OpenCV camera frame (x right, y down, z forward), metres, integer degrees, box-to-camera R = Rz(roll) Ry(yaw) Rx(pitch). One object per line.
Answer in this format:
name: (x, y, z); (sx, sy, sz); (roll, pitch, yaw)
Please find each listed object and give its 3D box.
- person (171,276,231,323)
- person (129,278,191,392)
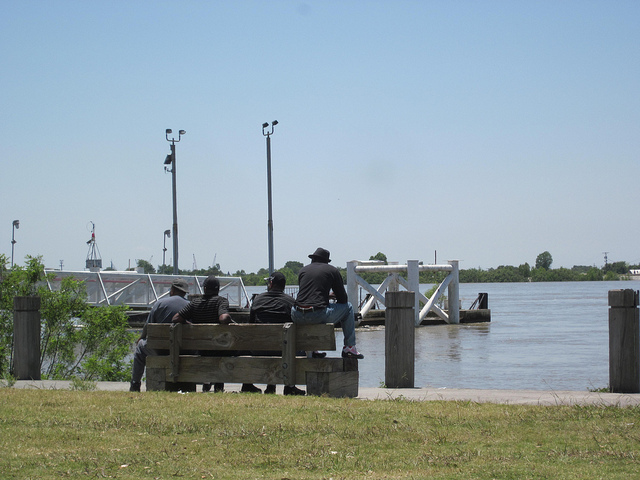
person: (-2.130, 0.999, 31.521); (0.826, 1.147, 0.936); (7, 10, 7)
person: (-2.986, 1.725, 31.879); (1.100, 2.067, 1.339); (1, 1, -7)
